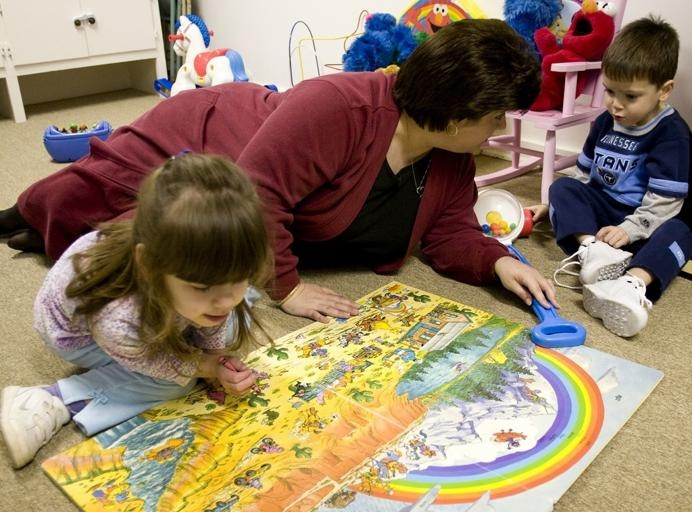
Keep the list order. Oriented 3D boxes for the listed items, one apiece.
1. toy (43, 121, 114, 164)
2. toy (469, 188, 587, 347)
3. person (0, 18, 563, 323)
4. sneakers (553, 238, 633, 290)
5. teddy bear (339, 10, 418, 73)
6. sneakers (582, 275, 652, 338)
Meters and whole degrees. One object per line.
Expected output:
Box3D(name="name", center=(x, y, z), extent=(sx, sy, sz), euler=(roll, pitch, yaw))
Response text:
Box3D(name="toy", center=(-1.175, -0.481, 2.335), extent=(0.271, 0.118, 0.202), euler=(-4, 4, 15))
Box3D(name="toy", center=(0.513, 0.037, 1.510), extent=(0.176, 0.145, 0.555), euler=(-18, 46, 4))
Box3D(name="person", center=(-0.399, -0.342, 1.584), extent=(1.833, 0.709, 0.623), euler=(7, 21, 13))
Box3D(name="sneakers", center=(0.685, 0.027, 1.448), extent=(0.170, 0.066, 0.171), euler=(-23, 7, -10))
Box3D(name="teddy bear", center=(0.145, -0.840, 2.000), extent=(0.164, 0.163, 0.201), euler=(-6, 37, 34))
Box3D(name="sneakers", center=(0.684, 0.121, 1.323), extent=(0.084, 0.106, 0.176), euler=(-18, 31, -29))
